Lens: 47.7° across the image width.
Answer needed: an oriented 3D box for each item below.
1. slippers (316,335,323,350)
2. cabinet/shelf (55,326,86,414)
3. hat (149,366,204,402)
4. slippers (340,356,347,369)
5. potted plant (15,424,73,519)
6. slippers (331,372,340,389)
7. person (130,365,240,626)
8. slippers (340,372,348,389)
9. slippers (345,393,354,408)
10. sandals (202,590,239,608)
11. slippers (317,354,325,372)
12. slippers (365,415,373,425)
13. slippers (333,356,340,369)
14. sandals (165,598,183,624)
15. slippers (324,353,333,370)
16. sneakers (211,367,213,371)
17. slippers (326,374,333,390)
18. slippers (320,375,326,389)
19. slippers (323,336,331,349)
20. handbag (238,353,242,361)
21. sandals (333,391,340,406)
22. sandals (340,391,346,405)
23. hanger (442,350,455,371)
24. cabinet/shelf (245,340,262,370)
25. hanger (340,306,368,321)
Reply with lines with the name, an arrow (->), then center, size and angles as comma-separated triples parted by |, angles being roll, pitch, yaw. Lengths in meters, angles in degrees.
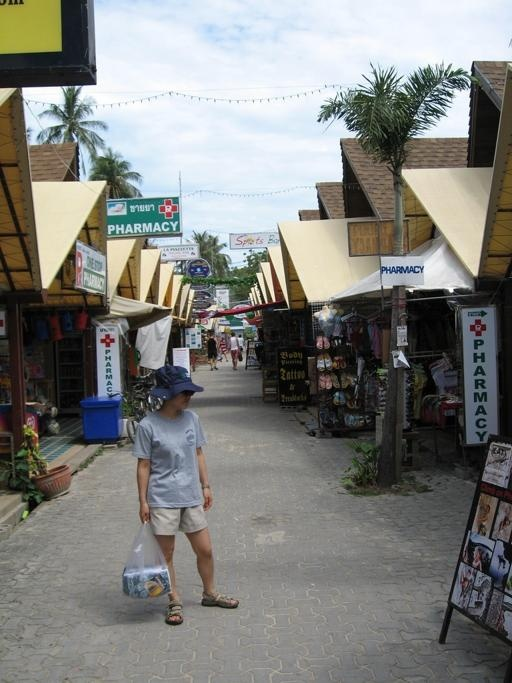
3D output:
slippers -> 1.256, 0.022, 11.548 | 0.128, 0.263, 0.135 | -3, 6, 5
cabinet/shelf -> -5.080, 0.934, 15.857 | 0.833, 2.197, 0.501 | -4, 6, -8
hat -> -0.489, 0.256, 3.567 | 0.266, 0.148, 0.247 | -5, 2, 3
slippers -> 1.727, 0.428, 11.554 | 0.123, 0.201, 0.043 | -2, -17, -5
potted plant -> -2.840, 1.606, 7.369 | 0.446, 0.970, 0.941 | -2, 6, 14
slippers -> 1.571, 0.773, 11.579 | 0.174, 0.282, 0.089 | -4, -24, -5
person -> -0.472, 0.939, 3.608 | 0.559, 1.577, 0.395 | -8, 7, -37
slippers -> 1.752, 0.779, 11.498 | 0.141, 0.254, 0.091 | -2, 5, 6
slippers -> 1.878, 1.165, 11.604 | 0.121, 0.336, 0.133 | -2, -12, 1
sandals -> -0.229, 1.643, 3.704 | 0.209, 0.083, 0.092 | 0, 3, 6
slippers -> 1.276, 0.426, 11.404 | 0.149, 0.253, 0.078 | -1, -1, 2
slippers -> 2.271, 1.590, 11.629 | 0.181, 0.260, 0.058 | -4, 6, -14
slippers -> 1.603, 0.426, 11.554 | 0.144, 0.236, 0.061 | 0, -7, 7
sandals -> -0.494, 1.639, 3.484 | 0.107, 0.113, 0.157 | -4, 5, -11
slippers -> 1.435, 0.397, 11.510 | 0.116, 0.328, 0.133 | -5, -9, -2
sneakers -> -2.769, 1.688, 36.351 | 0.187, 0.246, 0.599 | 0, -5, -3
slippers -> 1.448, 0.796, 11.495 | 0.141, 0.227, 0.068 | -4, 5, -9
slippers -> 1.315, 0.790, 11.423 | 0.139, 0.218, 0.066 | 2, -2, -2
slippers -> 1.397, 0.022, 11.509 | 0.118, 0.215, 0.099 | 0, 1, 9
handbag -> -1.288, 1.382, 48.019 | 0.175, 0.441, 0.455 | 2, 4, 5
sandals -> 1.599, 1.135, 11.549 | 0.167, 0.206, 0.070 | 1, -1, 9
sandals -> 1.732, 1.138, 11.568 | 0.145, 0.204, 0.062 | 2, 4, 26
hanger -> 3.419, 0.339, 10.307 | 0.268, 0.343, 0.133 | -3, -3, -40
cabinet/shelf -> -0.446, 1.095, 39.493 | 1.580, 2.161, 2.565 | -1, 9, 1
hanger -> 1.940, -0.558, 11.591 | 0.479, 0.283, 0.955 | -2, 5, 11
